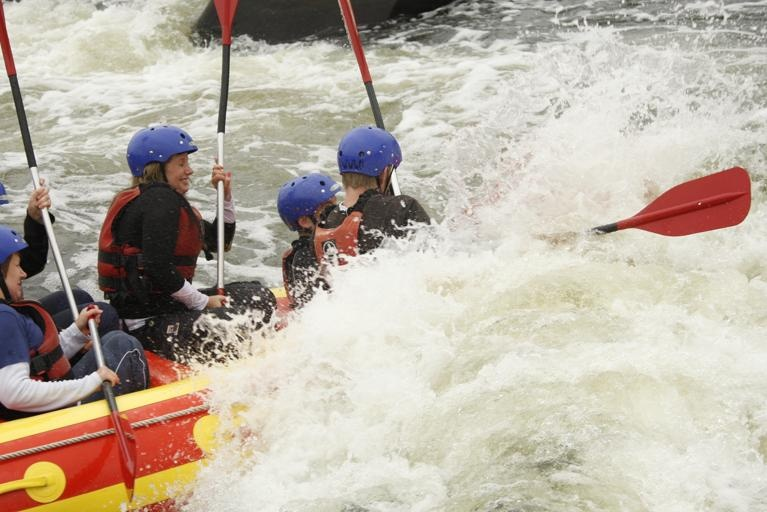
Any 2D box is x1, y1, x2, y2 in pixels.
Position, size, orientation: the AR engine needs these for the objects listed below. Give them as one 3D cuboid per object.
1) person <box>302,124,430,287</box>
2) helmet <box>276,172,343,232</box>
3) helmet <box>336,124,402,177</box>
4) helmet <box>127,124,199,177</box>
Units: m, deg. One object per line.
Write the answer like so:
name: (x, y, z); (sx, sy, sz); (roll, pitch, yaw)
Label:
person: (-0.133, -0.352, 6.356); (0.817, 0.842, 0.801); (-6, 33, -4)
helmet: (-0.552, -0.396, 6.760); (0.519, 0.325, 0.351); (-25, 1, 11)
helmet: (-0.124, -0.711, 6.424); (0.359, 0.418, 0.244); (2, 72, 20)
helmet: (-1.585, -0.712, 6.597); (0.513, 0.369, 0.305); (9, 69, -12)
